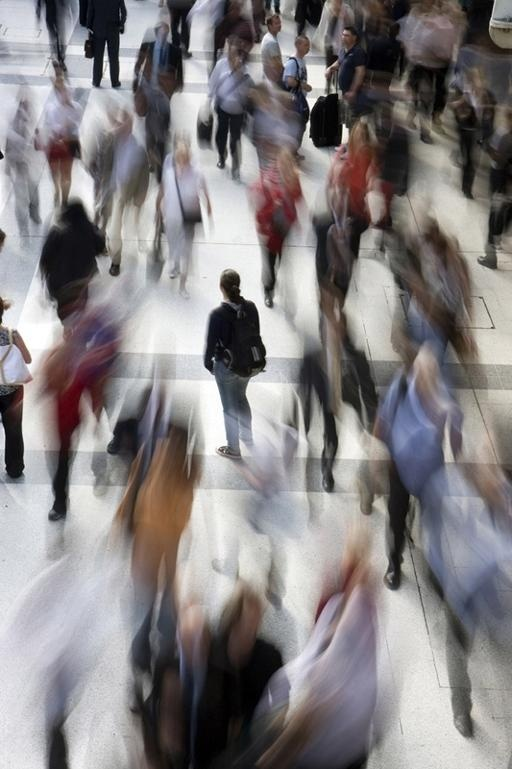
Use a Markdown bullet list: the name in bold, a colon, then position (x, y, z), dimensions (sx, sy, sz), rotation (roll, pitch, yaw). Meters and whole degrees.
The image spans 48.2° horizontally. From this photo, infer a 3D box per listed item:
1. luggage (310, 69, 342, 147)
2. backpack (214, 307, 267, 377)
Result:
- **luggage**: position (0.978, -4.037, 8.151), dimensions (0.339, 1.083, 0.702), rotation (-4, 36, 1)
- **backpack**: position (-0.104, -0.262, 3.905), dimensions (0.318, 0.544, 0.168), rotation (-8, 38, -16)
